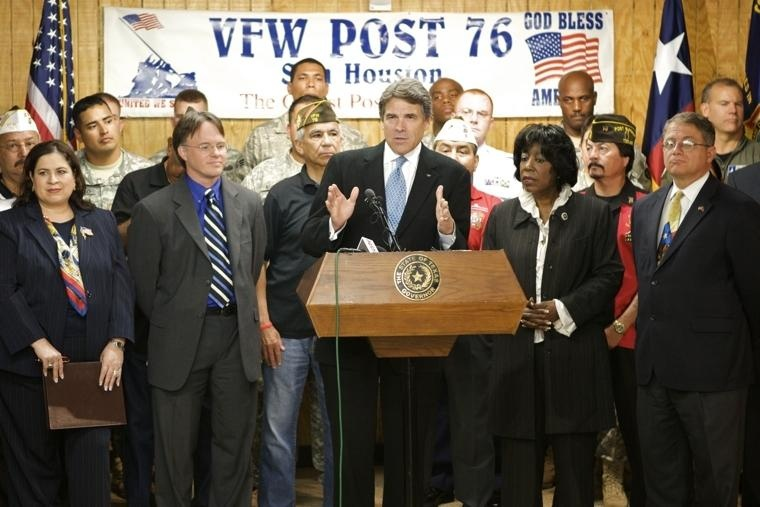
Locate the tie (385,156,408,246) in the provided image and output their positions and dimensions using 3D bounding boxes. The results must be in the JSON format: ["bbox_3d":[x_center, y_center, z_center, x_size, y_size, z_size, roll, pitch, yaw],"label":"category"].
[{"bbox_3d":[0.092,-0.308,4.461,0.095,0.614,0.063,0,-15,0],"label":"tie"}]

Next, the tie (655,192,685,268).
[{"bbox_3d":[1.919,-0.177,5.080,0.109,0.673,0.035,-5,-32,47],"label":"tie"}]

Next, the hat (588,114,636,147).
[{"bbox_3d":[1.783,-0.918,5.834,0.289,0.167,0.220,11,-3,-43],"label":"hat"}]

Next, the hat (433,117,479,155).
[{"bbox_3d":[0.604,-0.935,6.077,0.257,0.160,0.235,3,0,-4],"label":"hat"}]
